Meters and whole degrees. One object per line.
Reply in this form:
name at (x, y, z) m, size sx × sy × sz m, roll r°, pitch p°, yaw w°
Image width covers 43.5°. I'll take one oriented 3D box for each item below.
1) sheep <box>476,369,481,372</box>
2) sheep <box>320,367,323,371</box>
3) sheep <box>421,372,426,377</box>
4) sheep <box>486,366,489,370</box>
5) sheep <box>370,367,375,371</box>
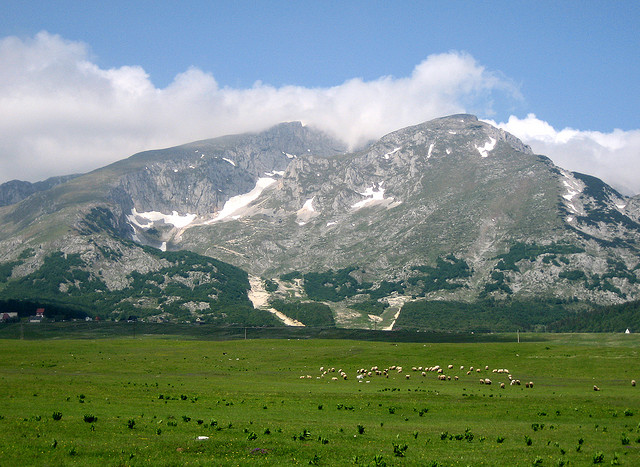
sheep at (69.382, 60.371, 352.815) m, size 1.793 × 0.590 × 1.671 m, roll 0°, pitch -1°, yaw 25°
sheep at (0.531, 60.234, 355.635) m, size 0.719 × 1.375 × 2.555 m, roll 3°, pitch 12°, yaw 8°
sheep at (44.554, 60.730, 346.014) m, size 1.107 × 1.363 × 0.742 m, roll -8°, pitch -31°, yaw 10°
sheep at (74.119, 59.858, 356.762) m, size 1.263 × 1.197 × 1.296 m, roll -10°, pitch 19°, yaw -30°
sheep at (22.895, 60.031, 354.842) m, size 1.457 × 1.847 × 0.779 m, roll -3°, pitch -6°, yaw 7°
